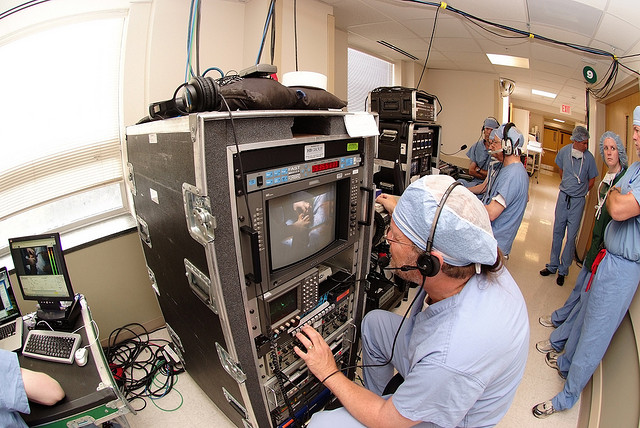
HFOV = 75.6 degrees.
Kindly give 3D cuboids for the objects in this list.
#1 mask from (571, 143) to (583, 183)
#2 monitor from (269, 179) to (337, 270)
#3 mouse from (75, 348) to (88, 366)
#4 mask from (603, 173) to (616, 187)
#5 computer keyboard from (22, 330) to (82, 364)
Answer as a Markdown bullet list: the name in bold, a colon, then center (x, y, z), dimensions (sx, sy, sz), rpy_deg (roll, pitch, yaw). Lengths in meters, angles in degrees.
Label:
- **mask**: center (3.103, -0.604, 5.043), dimensions (0.121, 0.379, 0.186), rpy_deg (4, 12, 31)
- **monitor**: center (-0.139, 0.061, 2.962), dimensions (0.544, 0.501, 0.288), rpy_deg (-15, 21, -36)
- **mouse**: center (-1.784, 1.082, 3.130), dimensions (0.074, 0.040, 0.121), rpy_deg (-13, 49, 0)
- **mask**: center (2.870, -0.364, 4.142), dimensions (0.107, 0.195, 0.159), rpy_deg (8, 9, 35)
- **computer keyboard**: center (-2.072, 1.024, 3.219), dimensions (0.442, 0.078, 0.217), rpy_deg (10, 50, 8)
